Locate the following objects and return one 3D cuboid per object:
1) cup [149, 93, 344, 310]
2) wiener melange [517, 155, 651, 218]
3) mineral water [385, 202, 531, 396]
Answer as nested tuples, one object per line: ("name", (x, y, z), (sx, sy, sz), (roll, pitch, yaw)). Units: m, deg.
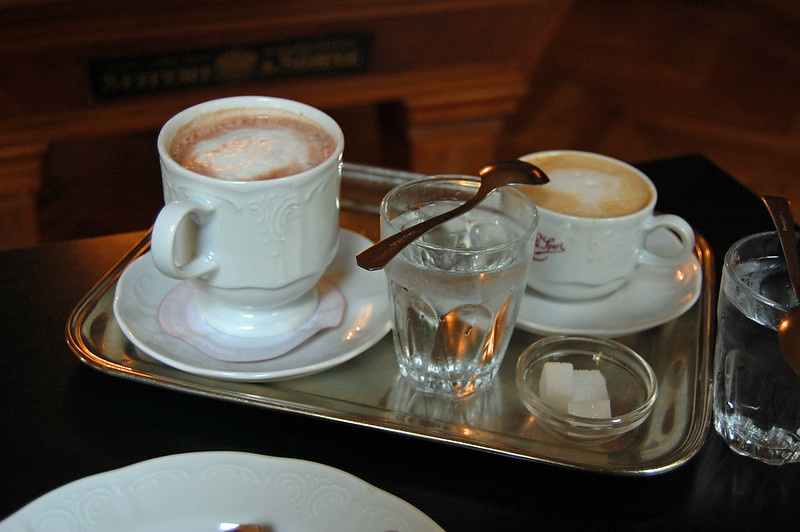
("cup", (-0.207, -0.072, 0.922), (0.273, 0.241, 0.288), (3, 34, -2))
("wiener melange", (0.262, -0.113, 0.922), (0.127, 0.042, 0.124), (18, 35, 21))
("mineral water", (0.065, 0.058, 0.880), (0.181, 0.242, 0.154), (1, 29, -1))
